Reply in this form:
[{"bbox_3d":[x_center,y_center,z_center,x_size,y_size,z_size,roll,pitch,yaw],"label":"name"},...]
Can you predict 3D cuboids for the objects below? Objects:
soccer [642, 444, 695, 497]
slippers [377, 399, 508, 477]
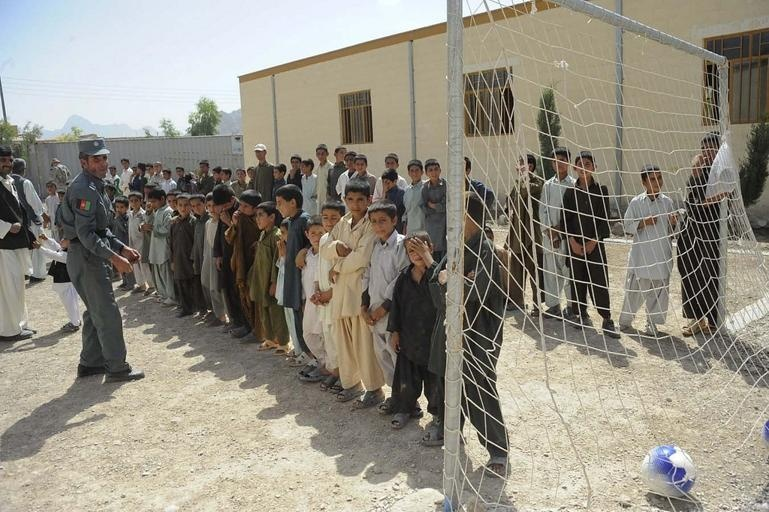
[{"bbox_3d":[2.324,1.781,4.529,0.389,0.367,0.183,0,9,20],"label":"soccer"},{"bbox_3d":[0.525,1.652,5.137,1.353,0.401,0.330,5,12,43],"label":"slippers"}]
